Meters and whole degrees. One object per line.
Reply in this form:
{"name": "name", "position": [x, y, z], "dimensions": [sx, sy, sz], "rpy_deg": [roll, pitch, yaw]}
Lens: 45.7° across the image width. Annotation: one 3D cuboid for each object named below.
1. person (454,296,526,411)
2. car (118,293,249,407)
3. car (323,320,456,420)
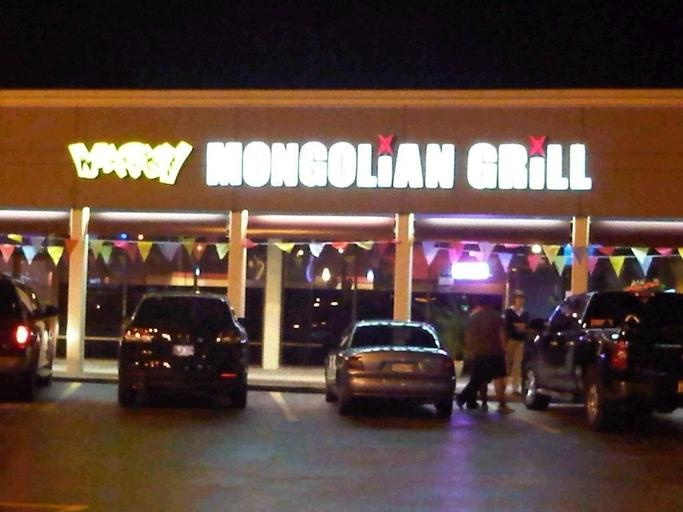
{"name": "person", "position": [2.904, 2.016, 16.560], "dimensions": [0.953, 2.283, 0.917], "rpy_deg": [1, -1, 9]}
{"name": "car", "position": [-3.152, 1.552, 16.891], "dimensions": [2.574, 1.942, 4.543], "rpy_deg": [2, 7, -11]}
{"name": "car", "position": [0.958, 2.129, 15.529], "dimensions": [2.309, 1.709, 2.065], "rpy_deg": [2, -1, 3]}
